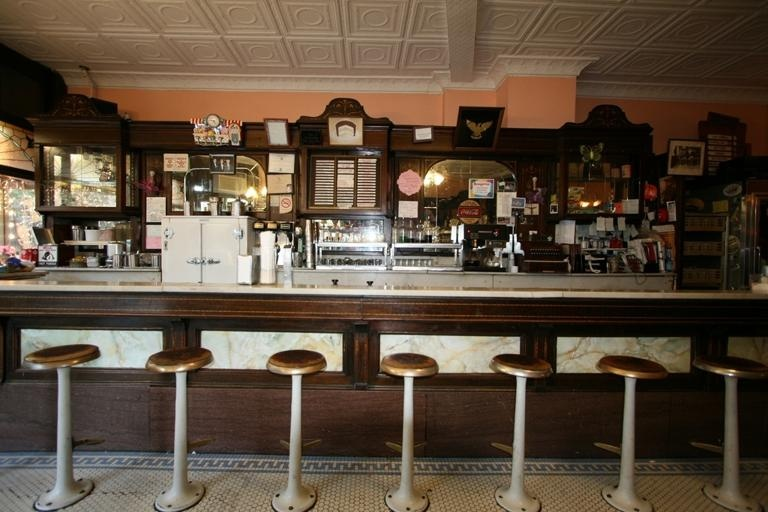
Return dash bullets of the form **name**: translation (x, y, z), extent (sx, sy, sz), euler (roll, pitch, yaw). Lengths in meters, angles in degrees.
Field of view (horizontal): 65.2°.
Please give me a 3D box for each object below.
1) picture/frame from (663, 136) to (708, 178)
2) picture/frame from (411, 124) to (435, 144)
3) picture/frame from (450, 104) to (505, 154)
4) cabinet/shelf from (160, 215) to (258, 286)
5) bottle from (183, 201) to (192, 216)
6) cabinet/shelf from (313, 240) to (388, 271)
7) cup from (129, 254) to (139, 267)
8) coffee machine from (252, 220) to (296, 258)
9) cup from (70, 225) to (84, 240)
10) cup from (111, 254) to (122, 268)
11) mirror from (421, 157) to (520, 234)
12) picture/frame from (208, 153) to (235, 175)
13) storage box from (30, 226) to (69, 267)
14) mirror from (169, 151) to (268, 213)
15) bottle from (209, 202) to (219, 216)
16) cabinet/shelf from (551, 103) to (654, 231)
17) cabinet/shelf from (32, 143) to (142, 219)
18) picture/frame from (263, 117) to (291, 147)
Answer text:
- **picture/frame**: translation (4.541, -1.484, 9.056), extent (0.564, 0.552, 0.244), euler (-3, 6, -21)
- **picture/frame**: translation (0.583, -1.837, 9.090), extent (0.410, 0.227, 0.116), euler (0, 4, 1)
- **picture/frame**: translation (1.403, -1.923, 8.996), extent (0.706, 0.596, 0.287), euler (0, 6, 4)
- **cabinet/shelf**: translation (-2.534, -0.073, 8.568), extent (1.491, 0.942, 0.485), euler (0, -1, -2)
- **bottle**: translation (-2.925, -0.713, 8.953), extent (0.090, 0.215, 0.307), euler (-3, 5, -17)
- **cabinet/shelf**: translation (-0.489, 0.012, 9.252), extent (1.678, 0.353, 0.486), euler (0, -7, 0)
- **cup**: translation (-3.780, 0.072, 9.077), extent (0.153, 0.190, 0.069), euler (-3, 6, -18)
- **coffee machine**: translation (-1.669, -0.322, 9.163), extent (0.601, 0.483, 0.484), euler (0, 5, 5)
- **cup**: translation (-4.735, -0.352, 9.312), extent (0.153, 0.226, 0.351), euler (-3, 5, -25)
- **cup**: translation (-4.017, 0.082, 9.039), extent (0.197, 0.211, 0.136), euler (-2, 5, -8)
- **mirror**: translation (1.352, -0.925, 9.403), extent (1.804, 1.008, 0.068), euler (1, 6, 4)
- **picture/frame**: translation (-2.495, -1.434, 9.251), extent (0.458, 0.253, 0.054), euler (1, 1, -3)
- **storage box**: translation (-4.965, -0.140, 9.017), extent (0.469, 0.589, 0.204), euler (-3, 6, -21)
- **mirror**: translation (-2.573, -1.132, 9.407), extent (0.101, 0.945, 1.815), euler (9, 11, 41)
- **bottle**: translation (-2.540, -0.696, 8.902), extent (0.097, 0.189, 0.228), euler (-6, 7, -43)
- **cabinet/shelf**: translation (3.332, -1.429, 9.120), extent (1.398, 1.697, 0.312), euler (-1, 6, -1)
- **cabinet/shelf**: translation (-4.484, -1.223, 9.429), extent (1.793, 1.053, 0.589), euler (5, 6, 24)
- **picture/frame**: translation (-1.621, -1.855, 9.057), extent (0.632, 0.475, 0.090), euler (1, 15, 0)
